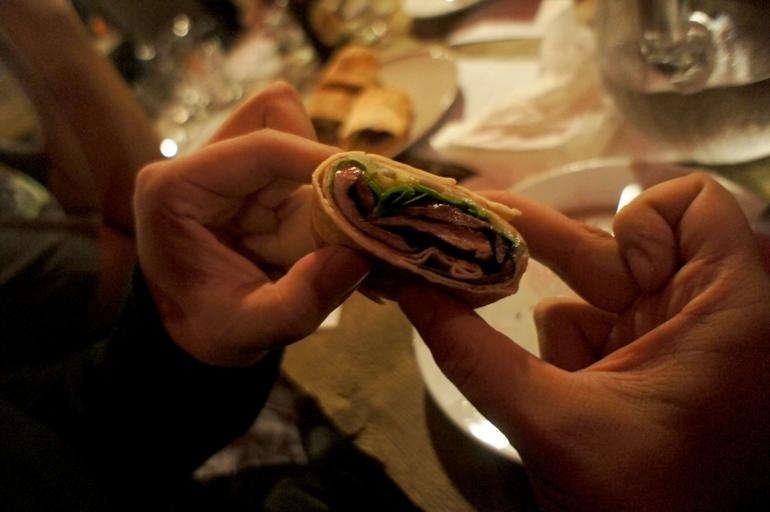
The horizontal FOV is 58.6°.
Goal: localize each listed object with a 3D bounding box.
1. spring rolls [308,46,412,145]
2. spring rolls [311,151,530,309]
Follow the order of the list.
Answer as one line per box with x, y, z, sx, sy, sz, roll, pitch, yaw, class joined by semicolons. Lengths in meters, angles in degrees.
-0.163;-0.894;4.019;0.531;0.638;0.388;-21;23;-39;spring rolls
0.193;-0.118;3.396;1.085;0.423;0.559;18;89;-5;spring rolls
